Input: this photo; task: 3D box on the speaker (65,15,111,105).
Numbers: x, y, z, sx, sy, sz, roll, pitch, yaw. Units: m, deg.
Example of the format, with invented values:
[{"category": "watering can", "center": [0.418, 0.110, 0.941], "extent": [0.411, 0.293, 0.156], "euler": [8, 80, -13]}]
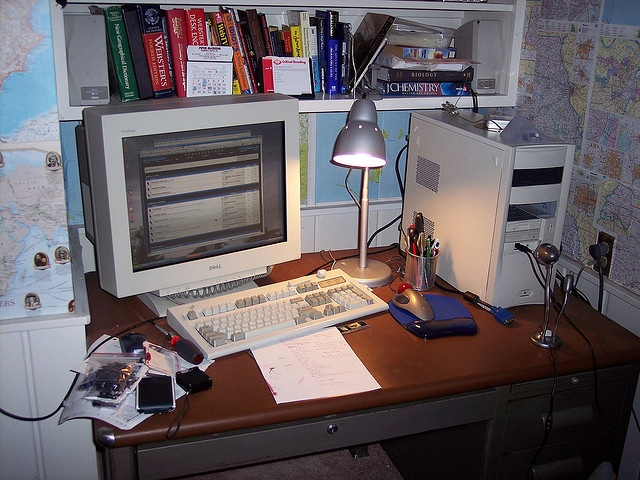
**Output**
[{"category": "speaker", "center": [-0.672, -0.522, 1.376], "extent": [0.136, 0.247, 0.101], "euler": [-10, 24, -13]}]

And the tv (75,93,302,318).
[{"category": "tv", "center": [-0.363, -0.151, 1.403], "extent": [0.749, 0.677, 0.170], "euler": [-12, 27, -36]}]

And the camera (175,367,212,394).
[{"category": "camera", "center": [-0.322, 0.355, 1.198], "extent": [0.093, 0.033, 0.065], "euler": [14, 28, 35]}]

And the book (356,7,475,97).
[{"category": "book", "center": [0.320, -0.649, 1.718], "extent": [0.355, 0.208, 0.349], "euler": [-5, 25, -22]}]

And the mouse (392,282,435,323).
[{"category": "mouse", "center": [0.293, 0.185, 1.491], "extent": [0.107, 0.053, 0.169], "euler": [-22, 30, -14]}]

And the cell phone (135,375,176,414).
[{"category": "cell phone", "center": [-0.400, 0.367, 1.156], "extent": [0.086, 0.048, 0.128], "euler": [-10, 24, -15]}]

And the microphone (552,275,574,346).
[{"category": "microphone", "center": [0.744, 0.225, 1.464], "extent": [0.067, 0.189, 0.092], "euler": [11, 25, 22]}]

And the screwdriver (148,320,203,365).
[{"category": "screwdriver", "center": [-0.404, 0.280, 1.350], "extent": [0.226, 0.047, 0.051], "euler": [30, 15, 37]}]

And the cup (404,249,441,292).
[{"category": "cup", "center": [0.336, 0.108, 1.655], "extent": [0.106, 0.133, 0.105], "euler": [3, 23, -1]}]
